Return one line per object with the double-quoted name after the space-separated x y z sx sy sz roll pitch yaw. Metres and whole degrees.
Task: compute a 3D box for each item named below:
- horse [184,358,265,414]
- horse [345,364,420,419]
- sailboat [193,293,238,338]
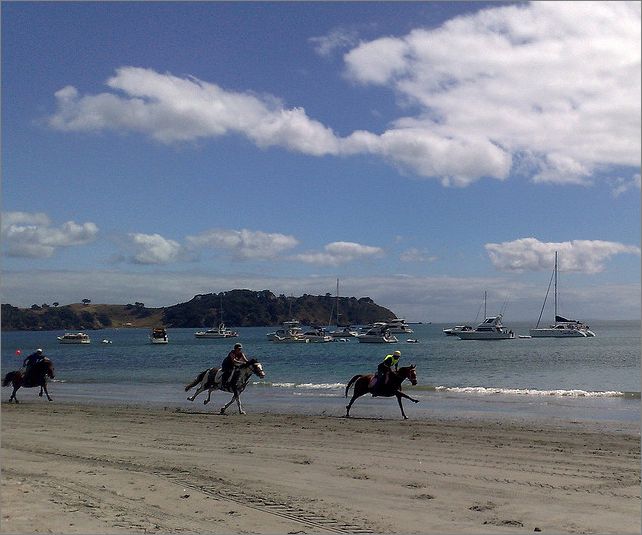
-3.727 4.596 26.871 3.454 2.316 0.995 -2 -5 27 "horse"
2.379 4.718 25.386 0.821 1.957 3.571 15 -18 -41 "horse"
-26.005 12.453 165.360 12.852 9.544 3.864 -3 -9 24 "sailboat"
